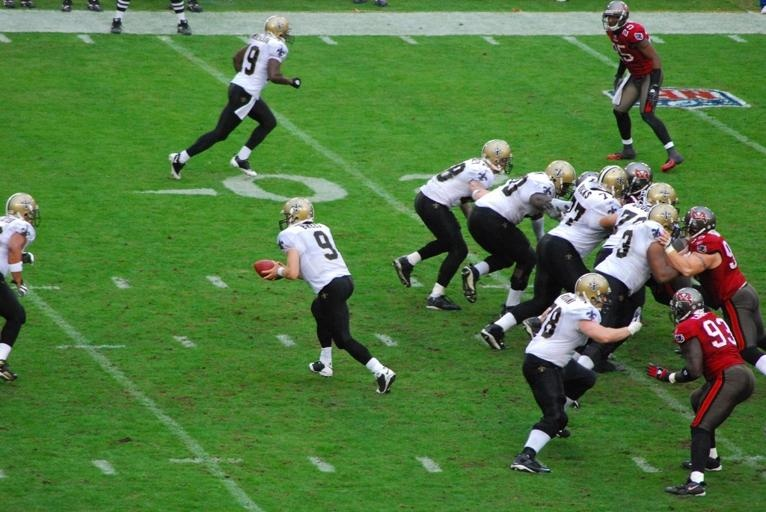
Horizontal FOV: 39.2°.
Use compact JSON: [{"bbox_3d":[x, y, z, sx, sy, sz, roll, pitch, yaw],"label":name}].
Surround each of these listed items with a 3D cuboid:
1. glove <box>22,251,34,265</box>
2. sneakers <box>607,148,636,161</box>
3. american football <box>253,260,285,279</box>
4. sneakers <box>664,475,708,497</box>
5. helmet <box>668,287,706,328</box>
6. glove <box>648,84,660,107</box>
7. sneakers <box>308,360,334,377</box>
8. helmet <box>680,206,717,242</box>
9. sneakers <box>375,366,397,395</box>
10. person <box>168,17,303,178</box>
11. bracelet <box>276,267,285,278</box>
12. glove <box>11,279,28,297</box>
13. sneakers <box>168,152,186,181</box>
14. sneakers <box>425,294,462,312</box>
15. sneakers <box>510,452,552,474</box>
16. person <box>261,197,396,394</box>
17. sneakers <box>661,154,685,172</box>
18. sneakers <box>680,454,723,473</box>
[{"bbox_3d":[-3.335,0.018,10.161,0.189,0.120,0.167,1,5,-7],"label":"glove"},{"bbox_3d":[3.209,-1.367,14.426,0.517,0.139,0.137,2,11,2],"label":"sneakers"},{"bbox_3d":[-1.059,0.115,9.935,0.266,0.121,0.138,-1,37,-10],"label":"american football"},{"bbox_3d":[2.458,1.903,8.812,0.410,0.118,0.113,2,0,6],"label":"sneakers"},{"bbox_3d":[2.581,0.439,9.234,0.250,0.308,0.285,-4,25,-28],"label":"helmet"},{"bbox_3d":[3.503,-2.116,14.059,0.122,0.215,0.195,3,2,9],"label":"glove"},{"bbox_3d":[-0.597,1.059,10.208,0.270,0.096,0.114,18,23,35],"label":"sneakers"},{"bbox_3d":[2.995,-0.339,10.204,0.445,0.272,0.274,1,18,13],"label":"helmet"},{"bbox_3d":[0.022,1.139,9.921,0.186,0.301,0.107,19,45,3],"label":"sneakers"},{"bbox_3d":[-1.767,-1.967,13.604,1.370,2.132,0.810,-14,34,-43],"label":"person"},{"bbox_3d":[-0.946,0.156,9.854,0.083,0.078,0.080,1,45,-13],"label":"bracelet"},{"bbox_3d":[-3.474,0.305,10.193,0.212,0.118,0.421,0,2,-11],"label":"glove"},{"bbox_3d":[-2.614,-1.148,13.735,0.284,0.388,0.141,-5,36,3],"label":"sneakers"},{"bbox_3d":[0.690,0.504,11.370,0.473,0.135,0.135,2,4,-6],"label":"sneakers"},{"bbox_3d":[1.303,1.750,9.107,0.449,0.135,0.137,4,1,-1],"label":"sneakers"},{"bbox_3d":[-0.448,0.353,9.993,1.378,1.649,0.668,12,24,8],"label":"person"},{"bbox_3d":[3.790,-1.237,14.208,0.361,0.166,0.163,-33,10,5],"label":"sneakers"},{"bbox_3d":[2.674,1.757,9.095,0.431,0.123,0.124,0,11,-5],"label":"sneakers"}]
